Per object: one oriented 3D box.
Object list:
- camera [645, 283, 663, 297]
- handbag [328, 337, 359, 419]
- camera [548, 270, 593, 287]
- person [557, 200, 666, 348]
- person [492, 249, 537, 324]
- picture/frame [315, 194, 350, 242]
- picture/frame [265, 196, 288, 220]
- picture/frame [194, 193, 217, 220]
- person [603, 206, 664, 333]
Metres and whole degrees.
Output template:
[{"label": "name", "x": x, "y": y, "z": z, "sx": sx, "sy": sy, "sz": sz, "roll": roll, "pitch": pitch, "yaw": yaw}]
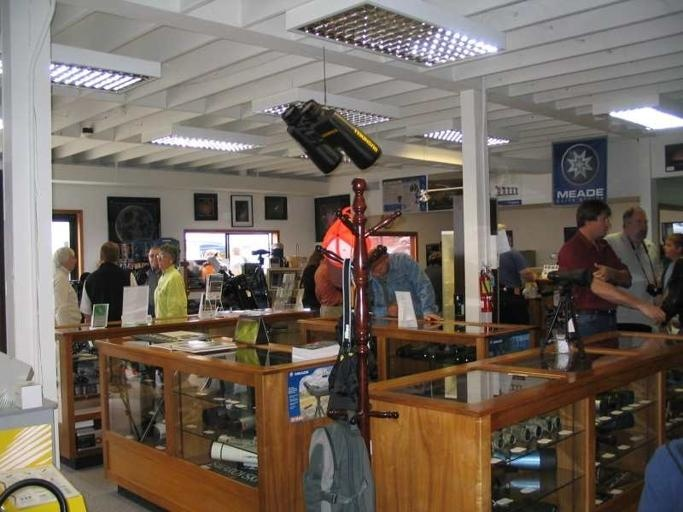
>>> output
[{"label": "camera", "x": 3.209, "y": 0.335, "z": 5.933, "sx": 0.073, "sy": 0.141, "sz": 0.220, "roll": -46, "pitch": 0, "yaw": 42}, {"label": "handbag", "x": 0.012, "y": 0.623, "z": 2.931, "sx": 0.156, "sy": 0.364, "sz": 0.167, "roll": 8, "pitch": 2, "yaw": 11}, {"label": "camera", "x": 1.449, "y": 0.140, "z": 3.665, "sx": 0.256, "sy": 0.108, "sz": 0.107, "roll": 1, "pitch": -8, "yaw": 31}, {"label": "person", "x": 2.222, "y": 0.434, "z": 4.867, "sx": 0.677, "sy": 1.705, "sz": 0.974, "roll": -6, "pitch": 15, "yaw": 6}, {"label": "person", "x": 2.314, "y": 0.412, "z": 7.934, "sx": 0.599, "sy": 1.109, "sz": 0.609, "roll": 5, "pitch": 2, "yaw": -1}, {"label": "picture/frame", "x": -0.306, "y": -0.987, "z": 14.972, "sx": 0.345, "sy": 1.215, "sz": 1.289, "roll": -2, "pitch": 3, "yaw": -29}, {"label": "picture/frame", "x": -1.702, "y": -1.230, "z": 14.548, "sx": 0.070, "sy": 0.531, "sz": 0.661, "roll": -2, "pitch": 0, "yaw": 44}, {"label": "picture/frame", "x": -3.198, "y": -1.167, "z": 13.338, "sx": 0.685, "sy": 0.628, "sz": 0.074, "roll": -1, "pitch": 0, "yaw": -44}, {"label": "person", "x": 2.967, "y": 0.077, "z": 5.978, "sx": 0.569, "sy": 1.501, "sz": 0.504, "roll": 9, "pitch": 4, "yaw": 41}]
